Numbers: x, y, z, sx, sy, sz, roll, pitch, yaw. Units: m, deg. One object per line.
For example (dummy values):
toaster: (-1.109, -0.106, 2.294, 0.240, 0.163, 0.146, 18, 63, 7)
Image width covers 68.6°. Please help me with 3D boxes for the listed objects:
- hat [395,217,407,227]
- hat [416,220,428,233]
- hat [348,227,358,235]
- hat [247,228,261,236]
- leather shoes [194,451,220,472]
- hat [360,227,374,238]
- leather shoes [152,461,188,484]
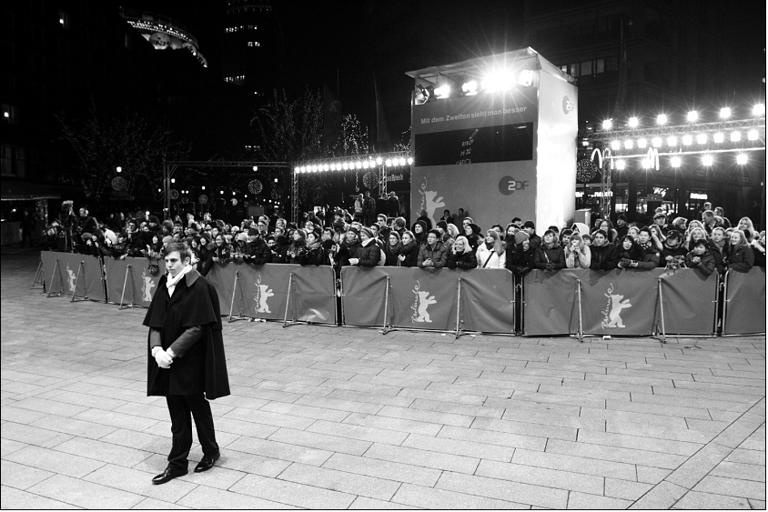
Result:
hat: (0.537, -1.110, 18.071, 0.281, 0.339, 0.379, 5, 0, 0)
hat: (1.130, -0.937, 17.579, 0.339, 0.408, 0.497, -3, -19, 10)
hat: (-0.857, -0.712, 15.825, 0.181, 0.139, 0.187, 3, 8, -9)
hat: (-3.850, -0.712, 16.625, 0.229, 0.182, 0.239, 1, -2, 2)
leather shoes: (-2.872, 3.389, 9.248, 0.178, 0.204, 0.509, -2, -3, 17)
hat: (-0.499, -0.659, 15.557, 0.263, 0.312, 0.314, 18, 22, 33)
leather shoes: (-3.399, 3.482, 8.995, 0.639, 0.264, 0.215, 2, -1, -40)
